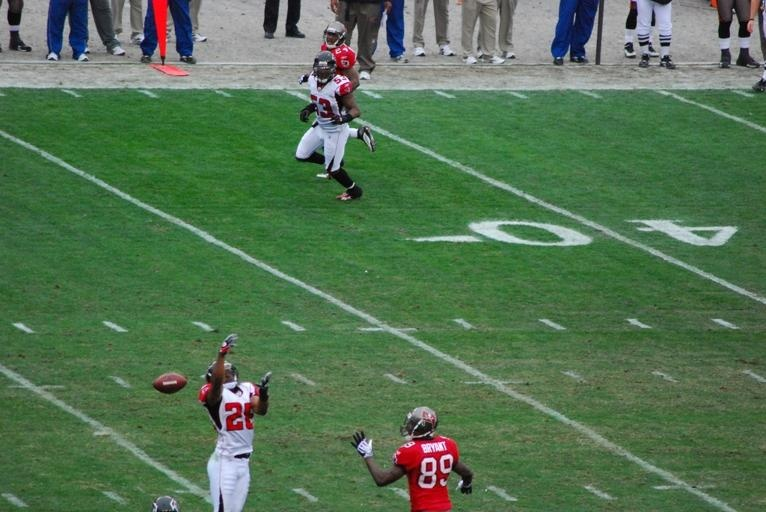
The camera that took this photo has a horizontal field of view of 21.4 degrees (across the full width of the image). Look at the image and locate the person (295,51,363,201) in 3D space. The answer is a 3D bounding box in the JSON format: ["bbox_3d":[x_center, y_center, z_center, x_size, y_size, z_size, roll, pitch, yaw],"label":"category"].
[{"bbox_3d":[-0.694,-1.639,26.256,0.846,1.920,0.650,2,9,-11],"label":"person"}]

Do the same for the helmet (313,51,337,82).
[{"bbox_3d":[-0.762,-2.385,25.994,0.285,0.381,0.269,3,8,-2],"label":"helmet"}]

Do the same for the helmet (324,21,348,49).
[{"bbox_3d":[-0.664,-2.865,26.646,0.335,0.307,0.381,11,21,19],"label":"helmet"}]

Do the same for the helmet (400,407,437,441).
[{"bbox_3d":[0.307,1.752,21.064,0.522,0.313,0.382,2,7,-21],"label":"helmet"}]

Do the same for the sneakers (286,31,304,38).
[{"bbox_3d":[-1.392,-3.407,31.663,0.258,0.081,0.109,1,10,15],"label":"sneakers"}]

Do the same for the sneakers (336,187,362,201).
[{"bbox_3d":[-0.440,-0.762,26.402,0.401,0.111,0.168,-10,-20,28],"label":"sneakers"}]

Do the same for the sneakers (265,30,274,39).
[{"bbox_3d":[-1.796,-3.401,31.563,0.163,0.063,0.200,0,-5,-4],"label":"sneakers"}]

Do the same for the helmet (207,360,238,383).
[{"bbox_3d":[-1.714,1.239,21.415,0.273,0.234,0.269,-4,-29,-24],"label":"helmet"}]

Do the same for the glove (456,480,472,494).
[{"bbox_3d":[0.863,2.448,21.375,0.181,0.137,0.069,11,15,31],"label":"glove"}]

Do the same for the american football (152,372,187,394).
[{"bbox_3d":[-2.249,1.360,21.336,0.397,0.172,0.206,-1,4,-14],"label":"american football"}]

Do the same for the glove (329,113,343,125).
[{"bbox_3d":[-0.617,-1.714,26.069,0.145,0.115,0.092,3,8,4],"label":"glove"}]
